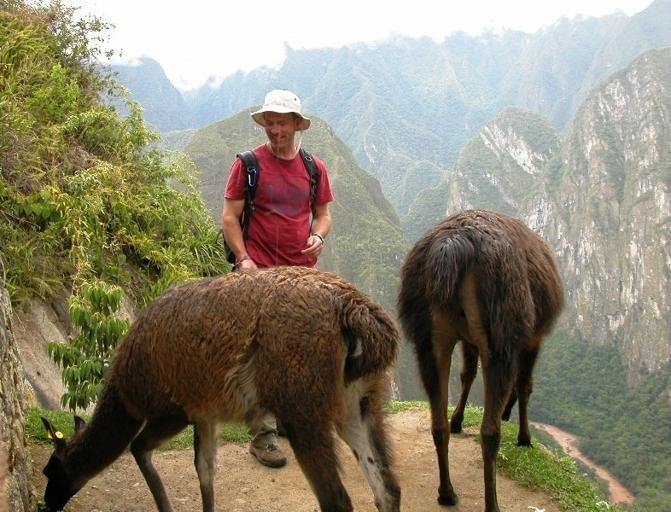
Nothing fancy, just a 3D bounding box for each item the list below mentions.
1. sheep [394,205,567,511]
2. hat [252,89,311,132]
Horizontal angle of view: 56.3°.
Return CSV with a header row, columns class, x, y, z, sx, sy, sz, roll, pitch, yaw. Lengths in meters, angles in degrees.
class,x,y,z,sx,sy,sz,roll,pitch,yaw
sheep,1.603,1.148,7.213,1.818,3.303,0.973,2,0,2
hat,-0.582,-1.648,6.764,0.511,0.320,0.585,20,21,37
